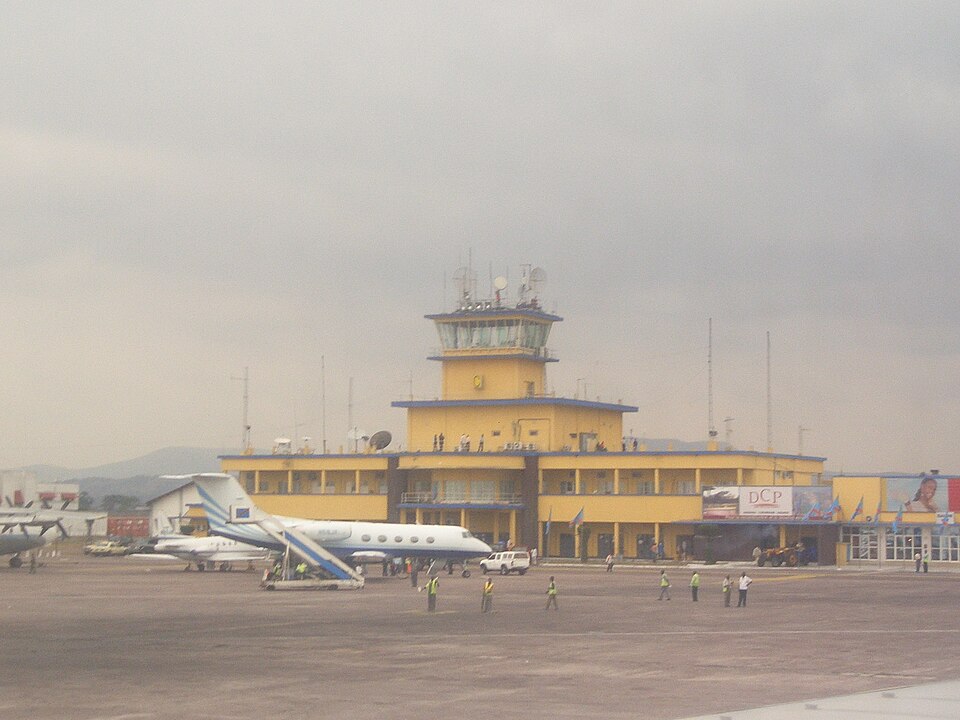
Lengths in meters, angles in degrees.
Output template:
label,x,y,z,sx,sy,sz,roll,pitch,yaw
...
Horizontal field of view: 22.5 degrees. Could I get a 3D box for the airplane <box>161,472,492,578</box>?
label,x,y,z,sx,sy,sz,roll,pitch,yaw
airplane,-7.106,8.201,124.940,17.626,4.824,15.420,4,0,-24

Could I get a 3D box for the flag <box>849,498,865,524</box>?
label,x,y,z,sx,sy,sz,roll,pitch,yaw
flag,21.730,8.313,138.317,0.737,1.347,0.583,3,-7,-19

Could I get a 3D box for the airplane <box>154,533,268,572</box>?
label,x,y,z,sx,sy,sz,roll,pitch,yaw
airplane,-15.263,10.510,134.944,4.289,1.797,4.101,-2,3,4

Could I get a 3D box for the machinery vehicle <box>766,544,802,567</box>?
label,x,y,z,sx,sy,sz,roll,pitch,yaw
machinery vehicle,17.509,11.054,137.961,1.250,0.832,1.451,1,4,15

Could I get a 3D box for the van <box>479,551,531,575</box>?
label,x,y,z,sx,sy,sz,roll,pitch,yaw
van,1.212,10.601,127.902,2.254,0.808,1.190,2,0,39
